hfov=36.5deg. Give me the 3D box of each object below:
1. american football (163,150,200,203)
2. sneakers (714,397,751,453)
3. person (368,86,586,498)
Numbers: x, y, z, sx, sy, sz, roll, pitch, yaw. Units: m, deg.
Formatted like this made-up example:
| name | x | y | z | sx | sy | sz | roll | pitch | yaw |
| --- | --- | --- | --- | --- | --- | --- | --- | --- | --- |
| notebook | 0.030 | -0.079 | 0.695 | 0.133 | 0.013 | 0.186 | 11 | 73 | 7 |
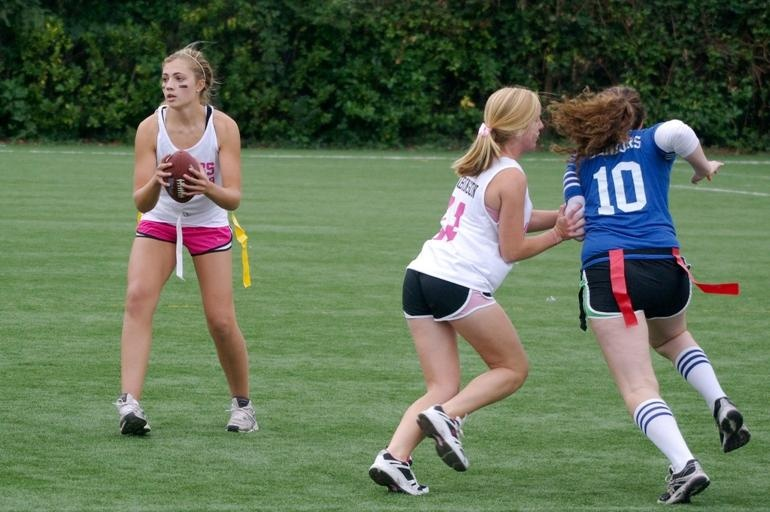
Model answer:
| name | x | y | z | sx | sy | sz | roll | pitch | yaw |
| --- | --- | --- | --- | --- | --- | --- | --- | --- | --- |
| american football | -1.891 | -0.749 | 10.726 | 0.345 | 0.416 | 0.265 | -2 | -1 | 12 |
| sneakers | 3.021 | 1.492 | 10.352 | 0.262 | 0.516 | 0.257 | -26 | 21 | -5 |
| person | 0.742 | 0.299 | 10.171 | 1.591 | 3.484 | 0.776 | 0 | 11 | -10 |
